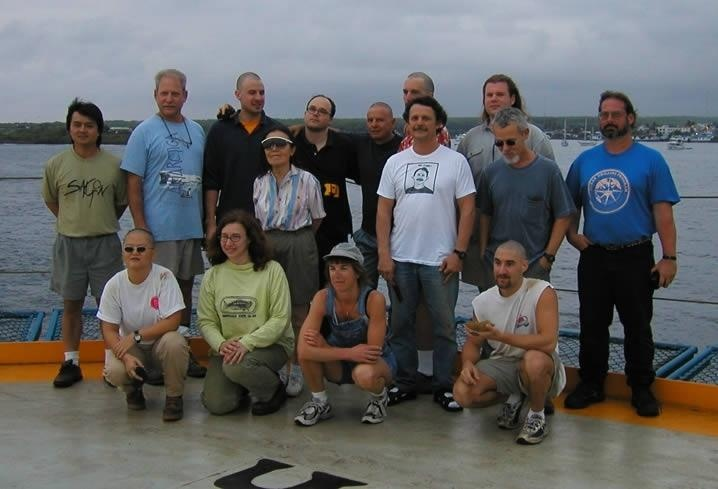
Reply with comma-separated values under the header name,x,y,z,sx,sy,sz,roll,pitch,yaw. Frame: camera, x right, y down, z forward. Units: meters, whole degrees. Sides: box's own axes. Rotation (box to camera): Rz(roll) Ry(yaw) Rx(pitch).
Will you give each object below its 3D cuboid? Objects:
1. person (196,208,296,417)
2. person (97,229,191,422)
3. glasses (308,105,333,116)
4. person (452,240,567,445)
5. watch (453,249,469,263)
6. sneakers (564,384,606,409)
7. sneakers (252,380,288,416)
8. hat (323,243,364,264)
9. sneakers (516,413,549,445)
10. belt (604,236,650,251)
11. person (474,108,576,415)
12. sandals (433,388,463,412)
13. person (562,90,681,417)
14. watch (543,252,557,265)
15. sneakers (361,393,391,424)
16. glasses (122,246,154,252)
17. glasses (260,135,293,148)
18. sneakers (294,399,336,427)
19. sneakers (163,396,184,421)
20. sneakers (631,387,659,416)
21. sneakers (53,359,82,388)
name,x,y,z,sx,sy,sz,roll,pitch,yaw
person,-0.861,0.498,4.872,0.719,1.462,0.634,-1,11,-6
person,-1.568,0.553,4.775,0.746,1.317,0.480,4,12,19
glasses,-0.324,-1.115,5.419,0.207,0.069,0.109,-2,11,-12
person,1.065,0.640,4.461,0.722,1.297,0.616,4,12,19
watch,0.761,0.080,4.839,0.116,0.068,0.109,29,-27,-34
sneakers,1.734,1.133,4.910,0.352,0.136,0.134,-5,6,-26
sneakers,-0.655,1.162,4.844,0.132,0.141,0.335,0,1,21
hat,-0.118,0.051,4.733,0.264,0.135,0.344,-1,11,-4
sneakers,1.154,1.226,4.293,0.113,0.130,0.288,-2,-1,27
belt,1.978,-0.008,4.725,0.348,0.103,0.072,0,11,2
person,1.275,0.121,4.944,0.820,2.250,0.596,2,4,36
sandals,0.670,1.173,4.842,0.103,0.105,0.271,-2,1,-24
person,1.939,0.055,4.792,0.789,2.316,0.582,3,12,17
watch,1.431,0.105,4.808,0.075,0.051,0.087,20,0,-5
sneakers,0.129,1.192,4.684,0.101,0.128,0.298,-2,-4,19
glasses,-1.648,0.036,4.721,0.171,0.052,0.049,1,11,7
glasses,-0.636,-0.804,5.058,0.238,0.087,0.100,-1,11,-8
sneakers,-0.313,1.203,4.641,0.116,0.134,0.302,4,3,39
sneakers,-1.338,1.176,4.632,0.128,0.143,0.137,-2,11,-8
sneakers,2.132,1.153,4.755,0.179,0.166,0.223,3,11,15
sneakers,-2.363,1.053,5.210,0.107,0.146,0.290,-1,-2,6
